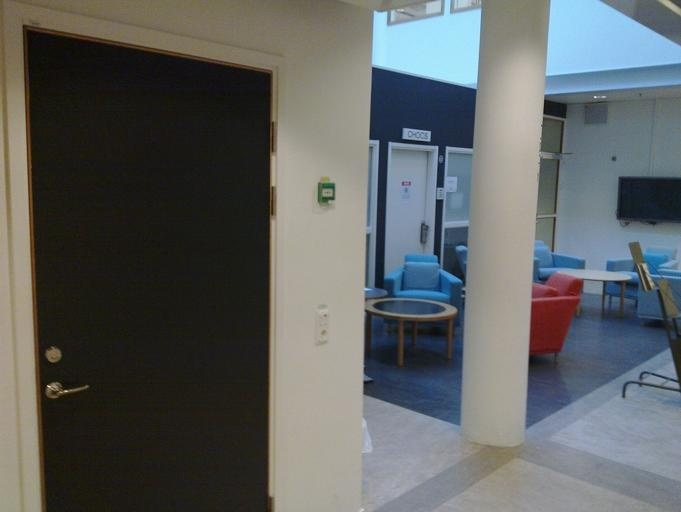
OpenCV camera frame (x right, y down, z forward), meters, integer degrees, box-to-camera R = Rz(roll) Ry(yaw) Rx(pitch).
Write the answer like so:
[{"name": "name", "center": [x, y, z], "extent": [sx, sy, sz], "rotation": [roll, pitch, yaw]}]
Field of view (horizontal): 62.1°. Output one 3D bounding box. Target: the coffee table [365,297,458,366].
[{"name": "coffee table", "center": [0.866, 0.941, 7.221], "extent": [1.163, 0.600, 1.223], "rotation": [5, 7, 28]}]

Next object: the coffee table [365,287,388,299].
[{"name": "coffee table", "center": [0.478, 0.515, 7.715], "extent": [0.280, 0.109, 0.547], "rotation": [1, 9, 1]}]
